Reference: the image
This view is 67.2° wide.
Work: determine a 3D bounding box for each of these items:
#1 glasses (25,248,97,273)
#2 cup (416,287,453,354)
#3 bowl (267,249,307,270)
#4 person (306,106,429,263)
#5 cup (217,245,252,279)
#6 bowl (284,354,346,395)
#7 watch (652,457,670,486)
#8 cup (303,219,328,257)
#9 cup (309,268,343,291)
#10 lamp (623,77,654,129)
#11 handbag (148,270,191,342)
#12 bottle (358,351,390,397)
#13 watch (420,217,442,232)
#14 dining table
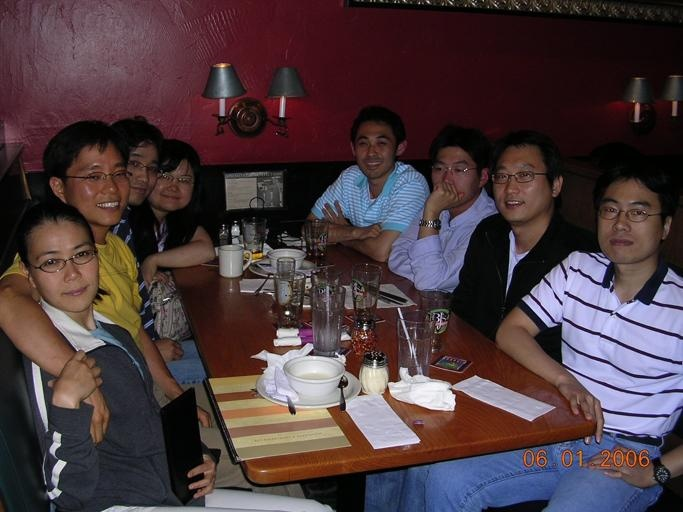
[{"bbox_3d":[-0.851,0.015,1.601,0.170,0.056,0.050,-10,13,-34],"label":"glasses"},{"bbox_3d":[0.343,0.244,1.932,0.125,0.202,0.126,2,10,0],"label":"cup"},{"bbox_3d":[-0.280,0.009,2.677,0.128,0.056,0.125,1,16,0],"label":"bowl"},{"bbox_3d":[0.161,-0.471,3.353,0.837,0.877,0.617,3,11,39],"label":"person"},{"bbox_3d":[-0.520,0.027,2.587,0.169,0.139,0.103,-1,14,-17],"label":"cup"},{"bbox_3d":[-0.096,0.378,1.560,0.200,0.087,0.197,4,8,-1],"label":"bowl"},{"bbox_3d":[1.040,0.710,1.689,0.054,0.078,0.044,5,14,34],"label":"watch"},{"bbox_3d":[-0.136,-0.096,2.800,0.132,0.184,0.127,0,4,0],"label":"cup"},{"bbox_3d":[-0.053,0.094,2.162,0.102,0.104,0.095,0,8,0],"label":"cup"},{"bbox_3d":[3.083,-1.578,5.364,0.264,0.547,0.478,5,14,34],"label":"lamp"},{"bbox_3d":[-0.966,0.289,2.861,0.206,0.351,0.256,-10,15,-19],"label":"handbag"},{"bbox_3d":[0.111,0.366,1.640,0.106,0.134,0.073,-5,12,-13],"label":"bottle"},{"bbox_3d":[0.447,-0.156,2.571,0.085,0.054,0.082,7,-8,-28],"label":"watch"},{"bbox_3d":[0.194,0.384,1.808,0.704,0.260,1.134,-5,26,-21],"label":"dining table"}]
